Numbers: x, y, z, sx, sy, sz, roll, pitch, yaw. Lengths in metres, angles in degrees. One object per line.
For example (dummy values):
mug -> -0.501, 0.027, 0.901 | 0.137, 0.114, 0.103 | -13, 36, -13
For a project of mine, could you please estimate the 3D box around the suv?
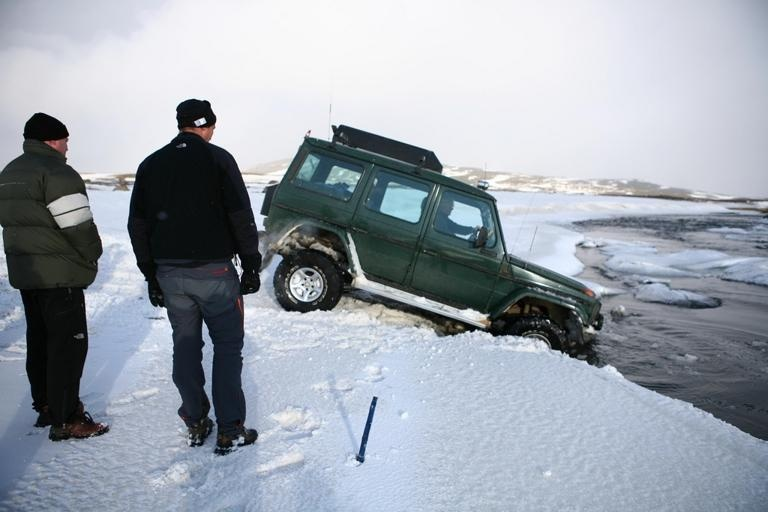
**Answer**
suv -> 0.812, -0.183, 9.838 | 5.918, 3.003, 3.061 | 16, 3, -2

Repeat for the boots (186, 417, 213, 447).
boots -> -2.004, 1.879, 5.756 | 0.163, 0.175, 0.386 | 9, 26, 11

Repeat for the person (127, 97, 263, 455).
person -> -1.912, 0.215, 5.643 | 1.368, 3.647, 0.760 | 7, 13, 20
